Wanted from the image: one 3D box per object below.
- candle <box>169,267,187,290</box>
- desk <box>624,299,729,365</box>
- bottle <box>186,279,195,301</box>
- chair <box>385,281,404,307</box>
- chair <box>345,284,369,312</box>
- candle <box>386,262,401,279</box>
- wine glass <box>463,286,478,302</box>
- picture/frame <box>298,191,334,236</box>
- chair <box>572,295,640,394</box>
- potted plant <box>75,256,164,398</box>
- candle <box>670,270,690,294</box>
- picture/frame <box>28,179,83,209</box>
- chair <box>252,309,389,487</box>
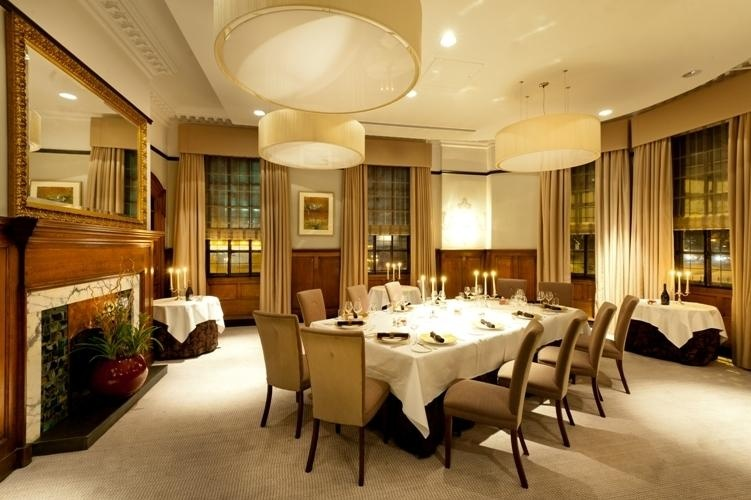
[{"bbox_3d":[-3.697,0.519,9.504,0.368,0.543,0.117,-2,-3,25],"label":"candle"},{"bbox_3d":[4.650,1.291,7.951,0.997,0.994,1.381,-2,4,-35],"label":"desk"},{"bbox_3d":[-3.219,0.685,8.796,0.162,0.480,0.170,1,11,0],"label":"bottle"},{"bbox_3d":[0.293,0.681,8.078,0.270,0.528,0.301,3,-7,-38],"label":"chair"},{"bbox_3d":[-0.252,0.729,7.728,0.322,0.635,0.356,2,-3,-40],"label":"chair"},{"bbox_3d":[0.378,0.451,11.013,0.303,0.435,0.081,1,-3,-17],"label":"candle"},{"bbox_3d":[1.497,0.688,8.003,0.203,0.380,0.215,-5,-7,33],"label":"wine glass"},{"bbox_3d":[-1.288,-0.753,10.528,0.802,1.137,0.072,0,-2,-17],"label":"picture/frame"},{"bbox_3d":[3.367,1.231,7.766,1.113,1.914,0.957,1,-2,26],"label":"chair"},{"bbox_3d":[-3.381,1.178,6.808,0.712,1.482,1.006,0,0,9],"label":"potted plant"},{"bbox_3d":[5.289,0.550,8.855,0.362,0.488,0.102,0,-1,-28],"label":"candle"},{"bbox_3d":[-3.823,-0.672,6.017,0.036,0.291,0.355,6,5,36],"label":"picture/frame"},{"bbox_3d":[-0.646,1.638,5.920,1.409,1.277,0.766,-1,0,40],"label":"chair"}]
